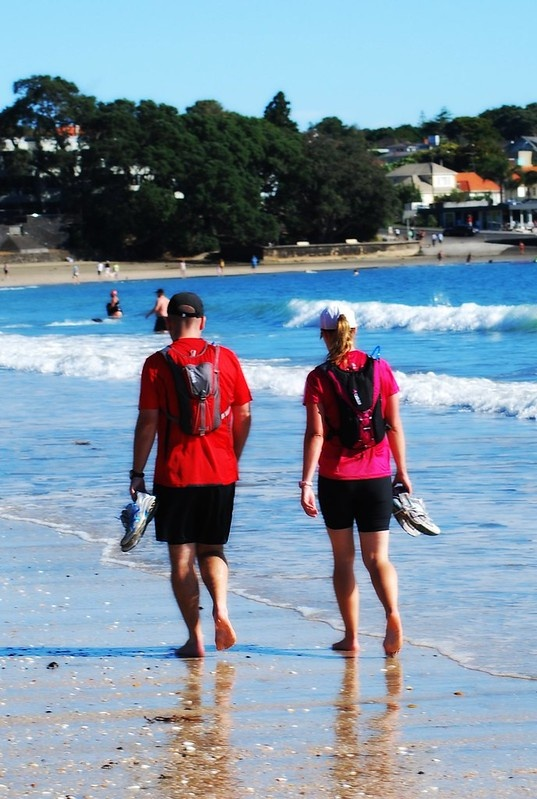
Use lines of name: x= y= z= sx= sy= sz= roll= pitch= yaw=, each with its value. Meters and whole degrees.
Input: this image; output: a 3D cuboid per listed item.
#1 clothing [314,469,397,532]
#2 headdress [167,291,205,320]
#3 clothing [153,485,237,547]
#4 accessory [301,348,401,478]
clothing: x=0.345 y=0.421 z=5.676 sx=0.298 sy=0.234 sz=0.172 roll=-2 pitch=6 yaw=2
headdress: x=-0.332 y=-0.365 z=5.632 sx=0.141 sy=0.102 sz=0.250 roll=-3 pitch=5 yaw=-4
clothing: x=-0.320 y=0.444 z=5.627 sx=0.391 sy=0.351 sz=0.223 roll=1 pitch=9 yaw=-7
accessory: x=0.336 y=0.061 z=5.676 sx=0.387 sy=0.507 sz=0.277 roll=-7 pitch=7 yaw=-3
